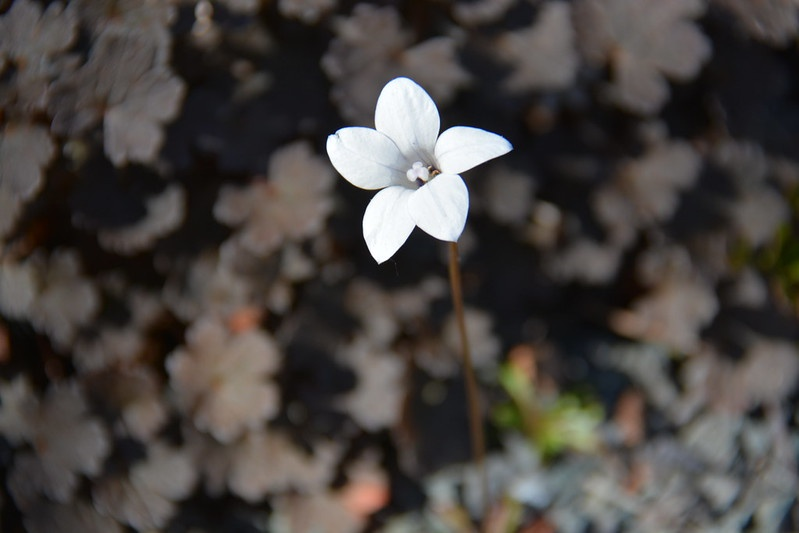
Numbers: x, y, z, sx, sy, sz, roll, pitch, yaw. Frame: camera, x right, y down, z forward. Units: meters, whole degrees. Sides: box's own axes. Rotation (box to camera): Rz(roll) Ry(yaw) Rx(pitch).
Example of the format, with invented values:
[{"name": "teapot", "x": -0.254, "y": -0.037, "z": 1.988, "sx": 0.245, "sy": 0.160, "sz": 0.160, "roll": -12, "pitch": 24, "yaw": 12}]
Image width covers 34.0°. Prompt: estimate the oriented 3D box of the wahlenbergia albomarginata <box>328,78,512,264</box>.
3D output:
[{"name": "wahlenbergia albomarginata", "x": 0.032, "y": -0.137, "z": 1.841, "sx": 0.237, "sy": 0.156, "sz": 0.234, "roll": -34, "pitch": 82, "yaw": -2}]
